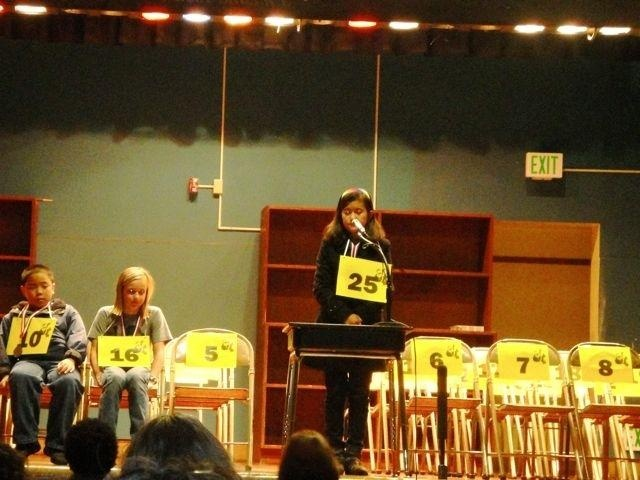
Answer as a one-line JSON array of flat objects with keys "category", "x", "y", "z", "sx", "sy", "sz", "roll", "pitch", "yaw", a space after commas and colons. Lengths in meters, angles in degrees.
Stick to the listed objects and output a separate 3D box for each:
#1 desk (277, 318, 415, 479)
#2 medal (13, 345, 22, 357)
[{"category": "desk", "x": 0.190, "y": 1.059, "z": 4.905, "sx": 0.895, "sy": 1.163, "sz": 0.920, "roll": 2, "pitch": -18, "yaw": -10}, {"category": "medal", "x": -2.214, "y": 0.812, "z": 5.463, "sx": 0.044, "sy": 0.072, "sz": 0.016, "roll": -3, "pitch": -4, "yaw": 11}]
